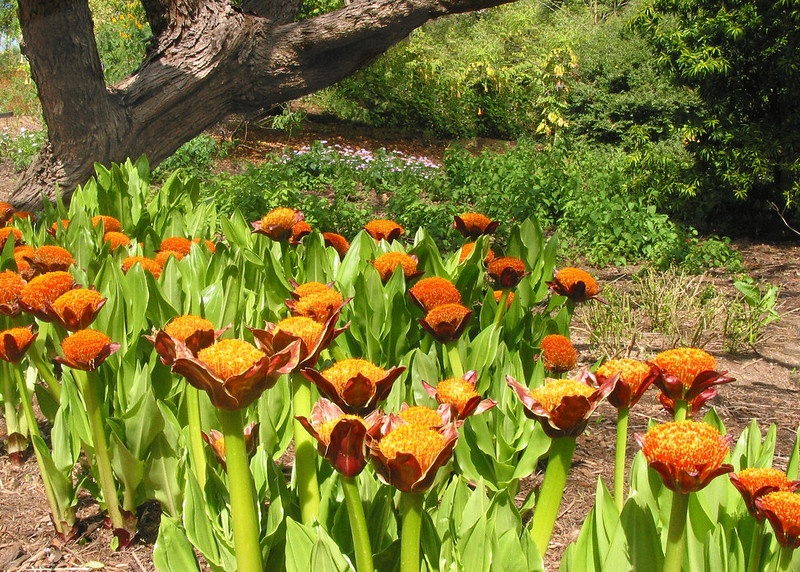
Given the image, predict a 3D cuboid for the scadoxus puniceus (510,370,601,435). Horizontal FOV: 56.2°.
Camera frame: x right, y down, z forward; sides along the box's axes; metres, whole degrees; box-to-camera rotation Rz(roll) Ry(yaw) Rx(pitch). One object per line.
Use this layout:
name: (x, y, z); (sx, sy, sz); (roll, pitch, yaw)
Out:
scadoxus puniceus: (0.557, 0.396, 2.567); (0.289, 0.164, 0.342); (4, -12, -21)

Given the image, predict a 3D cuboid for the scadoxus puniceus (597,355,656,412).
scadoxus puniceus: (0.800, 0.335, 2.663); (0.160, 0.195, 0.181); (2, 22, 6)

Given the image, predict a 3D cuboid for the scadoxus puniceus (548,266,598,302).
scadoxus puniceus: (0.843, 0.001, 3.647); (0.232, 0.186, 0.240); (2, 7, -4)

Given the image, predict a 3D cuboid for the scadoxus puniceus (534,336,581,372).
scadoxus puniceus: (0.714, 0.315, 3.411); (0.166, 0.189, 0.153); (7, -19, -29)

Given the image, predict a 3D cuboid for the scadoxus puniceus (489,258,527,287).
scadoxus puniceus: (0.524, -0.081, 3.618); (0.127, 0.168, 0.145); (-2, 6, -30)
